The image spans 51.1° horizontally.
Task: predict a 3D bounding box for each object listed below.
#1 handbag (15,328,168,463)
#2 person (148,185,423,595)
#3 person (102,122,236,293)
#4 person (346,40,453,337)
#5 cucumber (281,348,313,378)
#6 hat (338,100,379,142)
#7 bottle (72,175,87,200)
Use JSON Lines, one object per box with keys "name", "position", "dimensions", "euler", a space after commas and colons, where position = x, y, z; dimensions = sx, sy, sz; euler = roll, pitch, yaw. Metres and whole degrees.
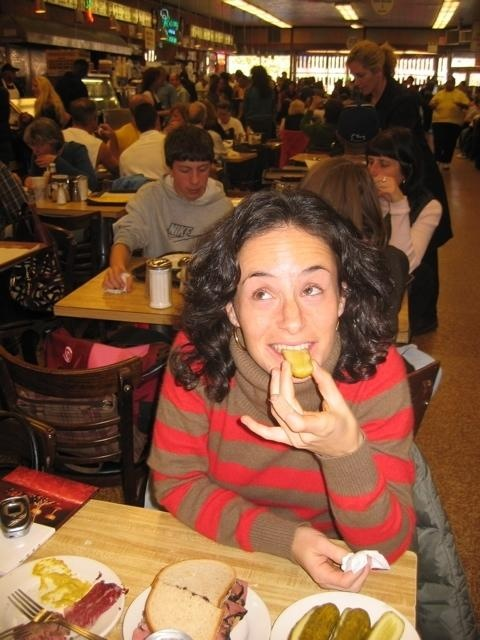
{"name": "handbag", "position": [-0.483, 0.300, 1.673], "dimensions": [0.459, 0.492, 0.449], "euler": [1, 17, 1]}
{"name": "person", "position": [0.074, 0.145, 0.985], "dimensions": [0.561, 0.764, 0.495], "euler": [6, 18, 15]}
{"name": "person", "position": [-0.435, -0.533, 3.277], "dimensions": [0.924, 1.262, 0.733], "euler": [-4, 33, -17]}
{"name": "person", "position": [1.246, -0.960, 4.372], "dimensions": [0.835, 2.607, 0.935], "euler": [-4, 21, 25]}
{"name": "cucumber", "position": [0.096, 0.073, 0.836], "dimensions": [0.044, 0.028, 0.066], "euler": [1, 16, -1]}
{"name": "hat", "position": [0.927, -1.551, 3.950], "dimensions": [0.321, 0.306, 0.162], "euler": [3, 9, 24]}
{"name": "bottle", "position": [-1.440, -1.200, 4.577], "dimensions": [0.157, 0.218, 0.212], "euler": [2, 22, -6]}
